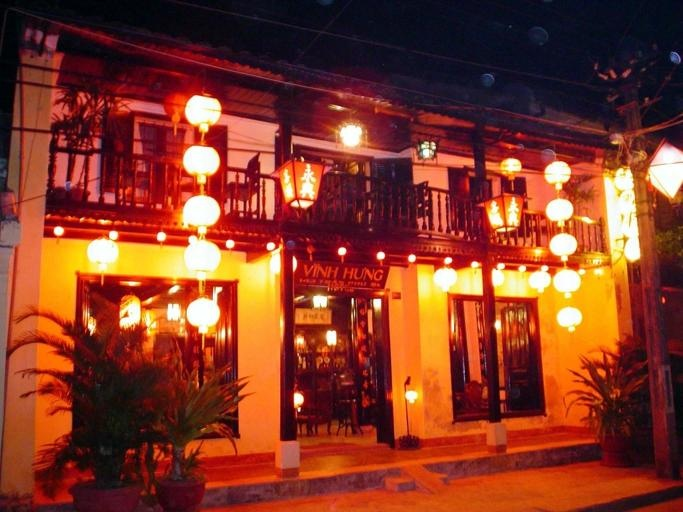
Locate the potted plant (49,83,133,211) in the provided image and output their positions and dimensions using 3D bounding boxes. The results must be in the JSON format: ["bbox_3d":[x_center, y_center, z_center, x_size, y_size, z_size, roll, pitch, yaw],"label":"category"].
[{"bbox_3d":[-4.942,-2.229,13.105,1.259,2.831,2.391,3,-9,-24],"label":"potted plant"}]

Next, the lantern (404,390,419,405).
[{"bbox_3d":[1.655,3.327,15.965,0.318,0.314,0.218,-2,-9,9],"label":"lantern"}]

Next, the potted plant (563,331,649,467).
[{"bbox_3d":[6.218,3.266,15.393,1.672,2.853,1.034,-1,-8,3],"label":"potted plant"}]

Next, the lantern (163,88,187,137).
[{"bbox_3d":[-3.528,-3.097,14.275,0.621,0.901,0.654,6,-17,-21],"label":"lantern"}]

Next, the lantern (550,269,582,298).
[{"bbox_3d":[5.172,0.628,15.457,0.631,0.840,0.651,8,-17,-28],"label":"lantern"}]

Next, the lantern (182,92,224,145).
[{"bbox_3d":[-2.523,-2.443,12.078,0.611,0.912,0.531,-1,2,-40],"label":"lantern"}]

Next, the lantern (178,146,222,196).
[{"bbox_3d":[-2.455,-1.612,11.907,0.555,0.785,0.497,-2,-8,7],"label":"lantern"}]

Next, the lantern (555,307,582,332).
[{"bbox_3d":[5.234,1.449,15.605,0.435,0.566,0.486,-7,-11,37],"label":"lantern"}]

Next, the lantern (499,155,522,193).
[{"bbox_3d":[3.706,-1.873,14.891,0.455,0.668,0.485,0,1,11],"label":"lantern"}]

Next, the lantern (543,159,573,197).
[{"bbox_3d":[4.703,-1.819,14.710,0.467,0.746,0.798,-6,-10,31],"label":"lantern"}]

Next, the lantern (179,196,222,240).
[{"bbox_3d":[-2.556,-0.766,12.040,0.566,0.656,0.711,4,-10,-31],"label":"lantern"}]

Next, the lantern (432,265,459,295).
[{"bbox_3d":[2.410,0.556,15.780,0.559,0.721,0.568,12,-21,-37],"label":"lantern"}]

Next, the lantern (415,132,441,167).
[{"bbox_3d":[2.080,-2.575,16.395,0.621,0.854,0.672,1,-5,-12],"label":"lantern"}]

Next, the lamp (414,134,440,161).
[{"bbox_3d":[2.012,-2.620,16.179,0.513,0.577,0.410,-2,-9,7],"label":"lamp"}]

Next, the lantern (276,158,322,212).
[{"bbox_3d":[-0.764,-1.269,12.866,0.795,0.917,0.816,11,-12,-44],"label":"lantern"}]
